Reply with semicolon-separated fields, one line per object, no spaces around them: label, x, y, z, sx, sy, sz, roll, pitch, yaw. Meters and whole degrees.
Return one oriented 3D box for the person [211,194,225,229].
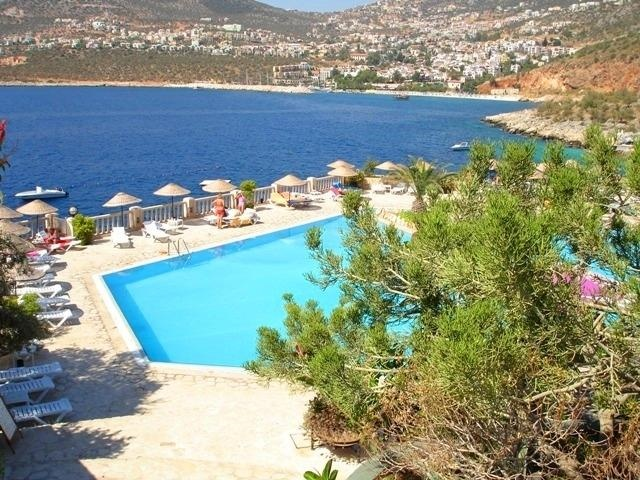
person;-3.887;-1.182;23.701;0.391;1.192;1.438;-8;17;-10

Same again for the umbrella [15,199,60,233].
umbrella;-8.877;-0.617;19.453;1.167;0.966;1.230;-8;26;-32

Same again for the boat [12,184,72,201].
boat;-18.322;-3.081;40.614;3.119;1.114;2.040;-11;18;-21

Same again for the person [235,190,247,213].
person;-3.262;-1.609;25.257;0.418;0.838;1.447;-6;17;-5

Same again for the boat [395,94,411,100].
boat;25.853;-44.900;192.389;3.459;1.820;4.761;-2;5;-3

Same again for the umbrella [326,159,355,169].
umbrella;0.994;-3.569;29.561;0.906;0.416;1.149;-6;16;-5
